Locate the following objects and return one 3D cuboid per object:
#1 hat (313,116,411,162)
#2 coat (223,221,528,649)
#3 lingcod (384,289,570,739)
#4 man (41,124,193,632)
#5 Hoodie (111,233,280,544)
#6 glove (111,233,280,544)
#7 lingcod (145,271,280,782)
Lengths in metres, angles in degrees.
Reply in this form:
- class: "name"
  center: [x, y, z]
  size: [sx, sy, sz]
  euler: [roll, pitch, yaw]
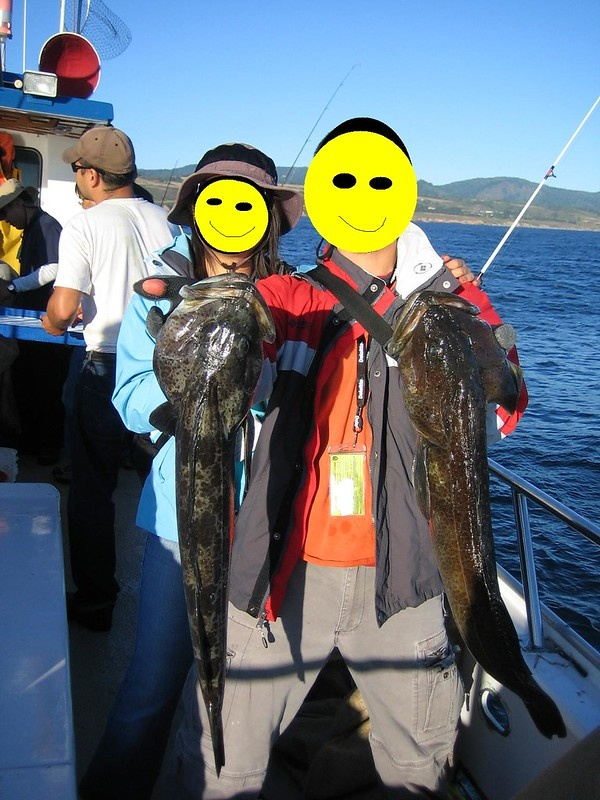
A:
- class: "hat"
  center: [0.165, -0.665, 1.750]
  size: [0.247, 0.120, 0.267]
  euler: [14, 20, -2]
- class: "coat"
  center: [0.101, 0.087, 2.111]
  size: [0.807, 1.076, 0.358]
  euler: [4, -2, -2]
- class: "lingcod"
  center: [0.341, 0.182, 1.446]
  size: [0.346, 1.040, 0.308]
  euler: [-1, 2, -6]
- class: "man"
  center: [-1.081, -0.225, 3.738]
  size: [0.732, 2.351, 0.762]
  euler: [13, 13, 18]
- class: "Hoodie"
  center: [-0.302, -0.015, 2.017]
  size: [0.387, 1.131, 0.440]
  euler: [3, -7, -2]
- class: "glove"
  center: [-0.315, 0.000, 2.017]
  size: [0.387, 1.131, 0.440]
  euler: [3, -7, -2]
- class: "lingcod"
  center: [-0.187, 0.259, 1.439]
  size: [0.274, 1.021, 0.313]
  euler: [3, 3, -4]
